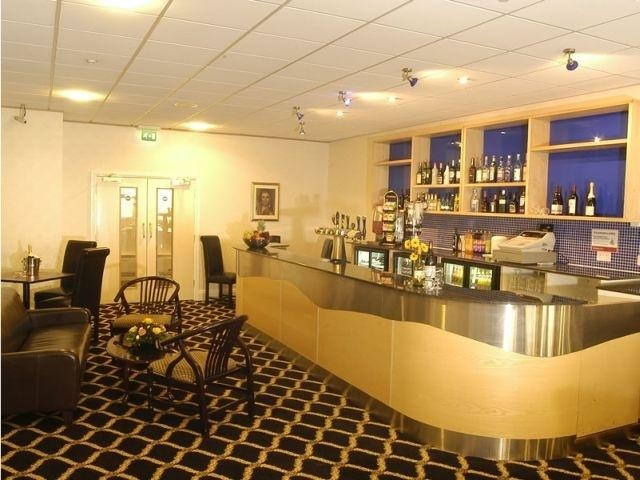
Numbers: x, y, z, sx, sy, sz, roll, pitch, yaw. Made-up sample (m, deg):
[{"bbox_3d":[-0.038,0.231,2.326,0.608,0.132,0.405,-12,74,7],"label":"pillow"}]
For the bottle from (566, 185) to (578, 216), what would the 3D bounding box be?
[{"bbox_3d":[3.434,-0.535,6.106,0.129,0.414,0.380,5,7,28],"label":"bottle"}]

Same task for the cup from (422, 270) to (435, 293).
[{"bbox_3d":[1.028,0.386,4.245,0.104,0.194,0.155,3,6,13],"label":"cup"}]

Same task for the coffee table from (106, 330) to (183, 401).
[{"bbox_3d":[-2.130,1.329,5.124,0.899,0.484,0.870,2,-1,3],"label":"coffee table"}]

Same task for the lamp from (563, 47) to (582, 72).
[{"bbox_3d":[2.489,-1.798,4.441,0.157,0.208,0.119,-4,9,14],"label":"lamp"}]

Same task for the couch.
[{"bbox_3d":[-2.852,1.249,4.740,0.660,0.587,1.191,0,9,-26],"label":"couch"}]

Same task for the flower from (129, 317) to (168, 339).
[{"bbox_3d":[-1.917,1.002,5.100,0.335,0.193,0.320,2,0,2],"label":"flower"}]

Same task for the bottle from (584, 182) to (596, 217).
[{"bbox_3d":[3.556,-0.528,5.909,0.137,0.449,0.355,5,7,30],"label":"bottle"}]

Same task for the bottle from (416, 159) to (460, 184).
[{"bbox_3d":[2.079,-1.183,7.876,0.111,0.313,0.568,7,-6,-44],"label":"bottle"}]

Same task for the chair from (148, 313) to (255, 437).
[{"bbox_3d":[-1.158,1.234,4.933,1.180,1.330,1.113,5,5,37],"label":"chair"}]

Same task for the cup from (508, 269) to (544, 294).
[{"bbox_3d":[2.740,0.546,5.932,0.170,0.201,0.315,-2,4,-44],"label":"cup"}]

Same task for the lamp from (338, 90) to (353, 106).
[{"bbox_3d":[0.350,-1.978,6.274,0.070,0.203,0.208,10,11,43],"label":"lamp"}]

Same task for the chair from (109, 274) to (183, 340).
[{"bbox_3d":[-2.376,1.006,6.207,0.879,0.929,0.767,1,-1,-21],"label":"chair"}]

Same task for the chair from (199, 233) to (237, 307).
[{"bbox_3d":[-2.100,0.630,9.386,0.590,1.397,0.969,-4,8,-38],"label":"chair"}]

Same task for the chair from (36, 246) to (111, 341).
[{"bbox_3d":[-3.748,0.874,6.757,0.992,1.405,0.707,-3,-1,-2],"label":"chair"}]

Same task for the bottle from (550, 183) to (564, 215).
[{"bbox_3d":[3.315,-0.550,6.290,0.176,0.394,0.363,4,7,27],"label":"bottle"}]
